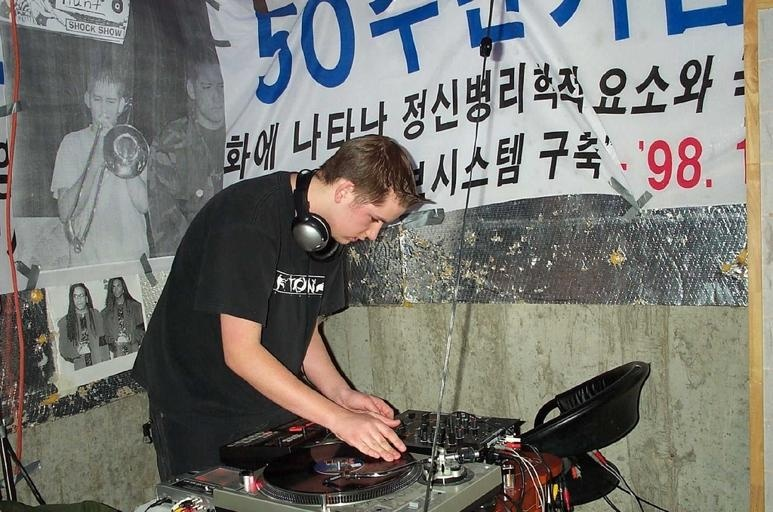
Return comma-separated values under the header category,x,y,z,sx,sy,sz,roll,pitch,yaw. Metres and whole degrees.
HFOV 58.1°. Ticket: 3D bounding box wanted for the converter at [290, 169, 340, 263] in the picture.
category,x,y,z,sx,sy,sz,roll,pitch,yaw
converter,-0.277,-0.119,2.682,0.281,0.393,0.120,-3,1,-19
